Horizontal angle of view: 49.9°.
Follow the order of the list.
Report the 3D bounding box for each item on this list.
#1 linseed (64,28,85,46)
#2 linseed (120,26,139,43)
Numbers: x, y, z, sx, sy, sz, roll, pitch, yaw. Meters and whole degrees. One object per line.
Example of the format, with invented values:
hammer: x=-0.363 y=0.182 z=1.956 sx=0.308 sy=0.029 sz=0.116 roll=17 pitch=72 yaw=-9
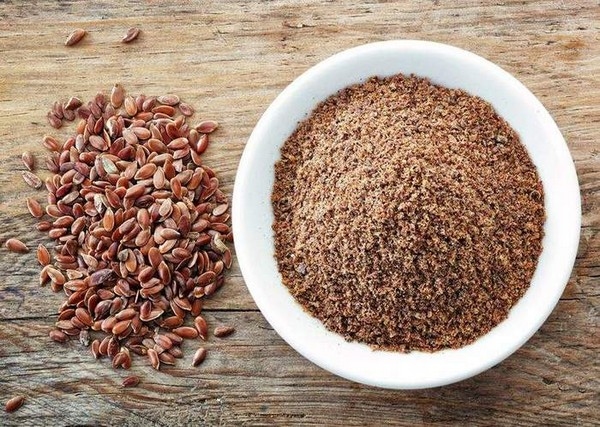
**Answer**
linseed: x=-1.028 y=-0.803 z=2.949 sx=0.089 sy=0.019 sz=0.061 roll=-43 pitch=84 yaw=-1
linseed: x=-0.772 y=-0.809 z=2.940 sx=0.086 sy=0.025 sz=0.061 roll=-31 pitch=78 yaw=-3
